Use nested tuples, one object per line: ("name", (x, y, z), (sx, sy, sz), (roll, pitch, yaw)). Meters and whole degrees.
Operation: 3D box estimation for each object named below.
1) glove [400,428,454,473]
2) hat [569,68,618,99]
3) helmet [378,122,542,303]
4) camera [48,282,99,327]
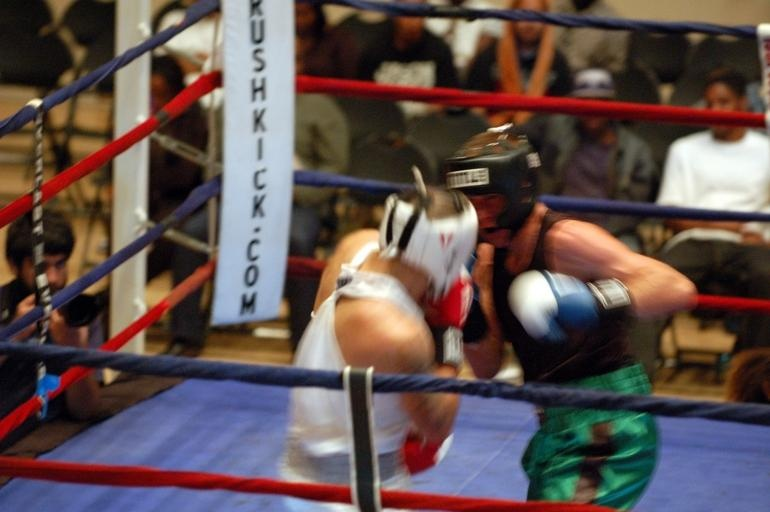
("glove", (0.121, 0.623, 3.378), (0.170, 0.134, 0.117), (-17, 28, -20))
("hat", (0.972, -0.800, 4.716), (0.189, 0.095, 0.175), (-1, 4, -17))
("helmet", (0.393, -0.216, 3.747), (0.634, 0.525, 0.476), (4, 0, -30))
("camera", (-1.165, 0.187, 3.770), (0.161, 0.068, 0.207), (-23, 16, -22))
